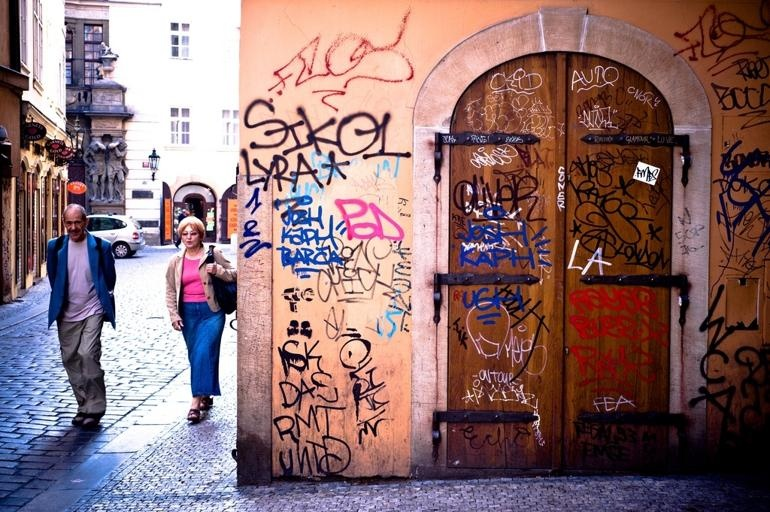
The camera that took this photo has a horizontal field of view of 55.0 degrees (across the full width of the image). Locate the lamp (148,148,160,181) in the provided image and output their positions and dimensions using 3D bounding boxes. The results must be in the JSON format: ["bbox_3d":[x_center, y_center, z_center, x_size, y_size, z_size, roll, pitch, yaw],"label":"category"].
[{"bbox_3d":[-11.811,-4.655,37.744,0.547,1.651,1.028,-4,8,-19],"label":"lamp"}]

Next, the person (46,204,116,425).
[{"bbox_3d":[-3.608,0.674,8.749,0.757,2.544,0.710,-2,8,-10],"label":"person"}]

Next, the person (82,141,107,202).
[{"bbox_3d":[-14.613,-4.283,37.466,1.115,2.916,0.694,-3,8,-13],"label":"person"}]

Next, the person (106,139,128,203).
[{"bbox_3d":[-13.659,-4.259,37.631,0.998,3.081,0.629,-4,8,-20],"label":"person"}]
